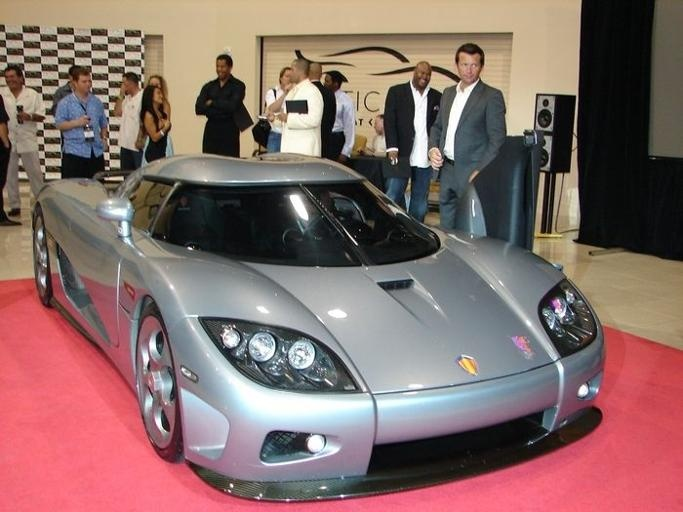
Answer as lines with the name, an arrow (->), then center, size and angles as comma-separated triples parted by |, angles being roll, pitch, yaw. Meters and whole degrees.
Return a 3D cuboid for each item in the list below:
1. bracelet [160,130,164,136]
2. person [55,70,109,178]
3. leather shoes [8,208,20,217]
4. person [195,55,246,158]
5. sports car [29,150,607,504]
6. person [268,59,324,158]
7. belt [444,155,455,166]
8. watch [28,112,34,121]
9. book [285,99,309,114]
bracelet -> -2.385, -1.630, 6.441 | 0.038, 0.061, 0.020 | 11, 1, 35
person -> -3.262, -1.391, 6.192 | 0.579, 1.905, 0.475 | -15, 41, -39
leather shoes -> -4.546, -0.608, 6.741 | 0.081, 0.073, 0.164 | 0, 5, -18
person -> -1.664, -2.101, 6.707 | 0.665, 1.360, 0.824 | -3, 13, -18
sports car -> -0.322, 0.189, 2.426 | 1.270, 0.775, 2.300 | -5, 14, -32
person -> -0.495, -1.683, 5.560 | 0.549, 1.045, 1.336 | 0, 14, -8
belt -> 0.902, -0.808, 4.079 | 0.061, 0.033, 0.103 | -3, 24, 7
watch -> -4.170, -1.857, 6.520 | 0.050, 0.088, 0.096 | -7, 16, -32
book -> -0.488, -1.535, 4.995 | 0.263, 0.124, 0.128 | 10, 15, 28
